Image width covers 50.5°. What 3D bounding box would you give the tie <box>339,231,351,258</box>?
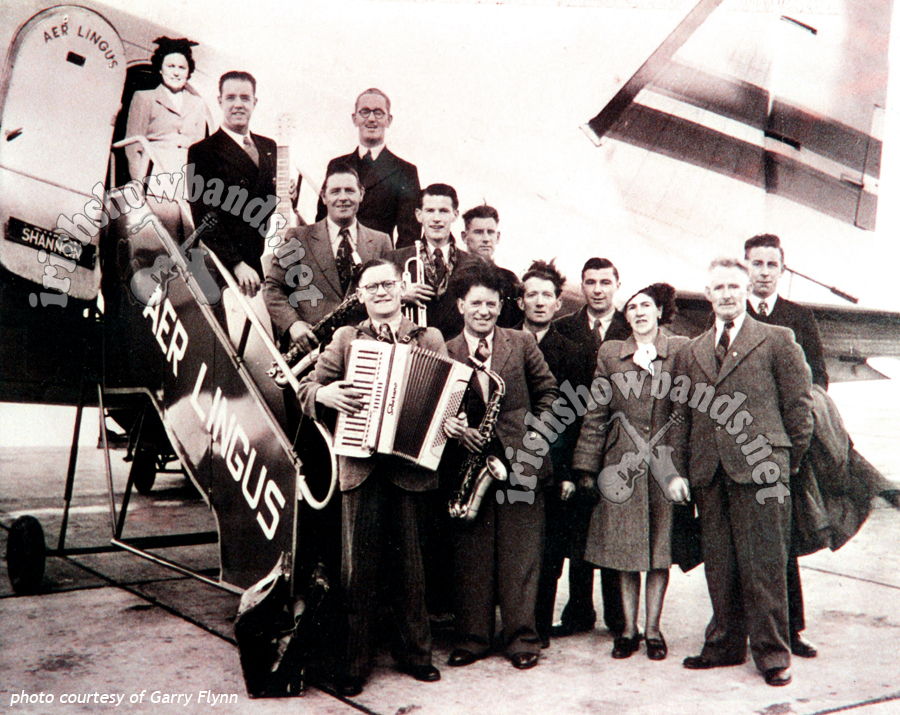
[{"bbox_3d":[-0.769,-0.830,7.006,0.084,0.173,0.042,-1,-3,-2],"label":"tie"}]

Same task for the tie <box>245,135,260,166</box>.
[{"bbox_3d":[-1.557,-1.629,7.498,0.115,0.231,0.051,-10,-6,-45],"label":"tie"}]

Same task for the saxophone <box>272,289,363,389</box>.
[{"bbox_3d":[-0.898,-0.122,6.589,0.178,0.673,0.252,39,-18,18],"label":"saxophone"}]

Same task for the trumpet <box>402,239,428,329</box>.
[{"bbox_3d":[-0.247,-0.552,6.960,0.160,0.626,0.208,2,-13,3],"label":"trumpet"}]

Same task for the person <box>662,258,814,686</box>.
[{"bbox_3d":[1.959,0.713,6.493,0.900,2.758,0.689,4,9,22],"label":"person"}]

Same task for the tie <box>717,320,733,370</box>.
[{"bbox_3d":[1.914,-0.120,6.630,0.065,0.413,0.055,3,-21,37],"label":"tie"}]

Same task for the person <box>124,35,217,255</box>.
[{"bbox_3d":[-2.324,-1.837,7.627,0.567,1.945,0.521,5,12,-6],"label":"person"}]

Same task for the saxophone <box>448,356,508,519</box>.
[{"bbox_3d":[0.194,0.578,6.552,0.399,1.142,0.337,1,8,2],"label":"saxophone"}]

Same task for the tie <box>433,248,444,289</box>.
[{"bbox_3d":[-0.069,-0.682,7.111,0.048,0.210,0.141,1,-8,5],"label":"tie"}]
